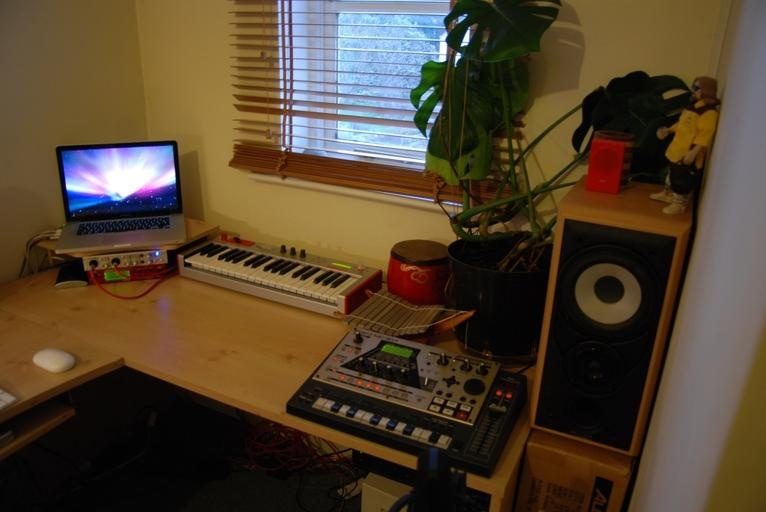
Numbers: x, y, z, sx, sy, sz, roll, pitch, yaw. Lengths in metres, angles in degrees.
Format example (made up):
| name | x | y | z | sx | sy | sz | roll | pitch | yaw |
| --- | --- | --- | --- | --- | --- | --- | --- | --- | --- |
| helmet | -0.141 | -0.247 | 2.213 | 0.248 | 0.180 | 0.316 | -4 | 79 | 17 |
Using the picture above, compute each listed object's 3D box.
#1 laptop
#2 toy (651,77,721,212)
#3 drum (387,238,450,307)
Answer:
| name | x | y | z | sx | sy | sz | roll | pitch | yaw |
| --- | --- | --- | --- | --- | --- | --- | --- | --- | --- |
| laptop | -1.098 | -0.258 | 2.404 | 0.492 | 0.431 | 0.290 | -2 | 24 | -21 |
| toy | 0.847 | -0.316 | 1.589 | 0.142 | 0.356 | 0.222 | 12 | 23 | 11 |
| drum | 0.136 | 0.062 | 2.278 | 0.229 | 0.208 | 0.229 | 13 | 22 | 20 |
